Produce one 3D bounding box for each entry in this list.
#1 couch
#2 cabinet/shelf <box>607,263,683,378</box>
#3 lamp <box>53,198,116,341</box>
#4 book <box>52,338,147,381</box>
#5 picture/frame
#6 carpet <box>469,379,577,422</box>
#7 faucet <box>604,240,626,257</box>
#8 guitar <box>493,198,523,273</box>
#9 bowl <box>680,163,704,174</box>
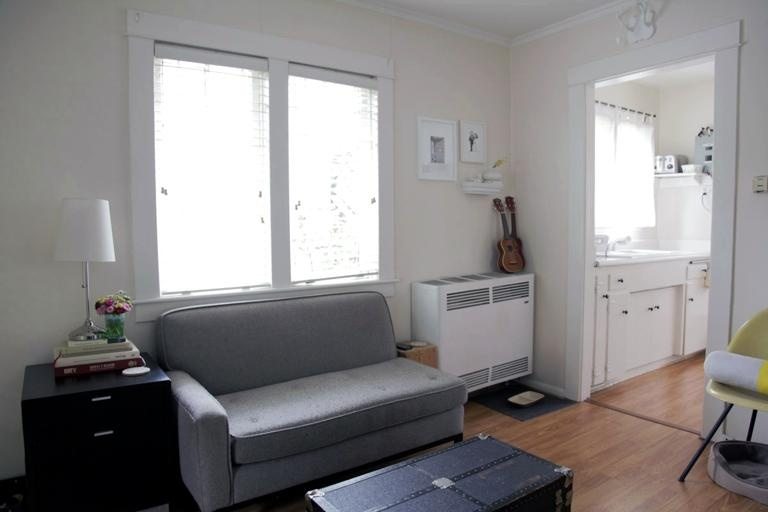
[{"bbox_3d":[-0.593,0.877,3.407,2.100,1.160,1.197,-5,5,-33],"label":"couch"},{"bbox_3d":[2.445,0.582,4.959,1.028,0.841,0.608,-5,6,-33],"label":"cabinet/shelf"},{"bbox_3d":[-1.844,0.070,3.225,0.307,0.853,0.334,-4,15,-31],"label":"lamp"},{"bbox_3d":[-1.745,0.618,3.169,0.308,0.107,0.291,-2,3,-35],"label":"book"},{"bbox_3d":[0.555,-0.948,4.602,0.663,0.436,0.030,-1,3,-35],"label":"picture/frame"},{"bbox_3d":[1.188,1.252,4.559,0.678,0.060,0.685,-8,17,-43],"label":"carpet"},{"bbox_3d":[2.404,-0.086,5.428,0.160,0.119,0.877,10,14,26],"label":"faucet"},{"bbox_3d":[1.170,-0.200,4.887,0.288,0.677,0.315,-5,16,-32],"label":"guitar"},{"bbox_3d":[3.502,-0.982,5.921,0.170,0.072,0.118,0,3,-5],"label":"bowl"}]
